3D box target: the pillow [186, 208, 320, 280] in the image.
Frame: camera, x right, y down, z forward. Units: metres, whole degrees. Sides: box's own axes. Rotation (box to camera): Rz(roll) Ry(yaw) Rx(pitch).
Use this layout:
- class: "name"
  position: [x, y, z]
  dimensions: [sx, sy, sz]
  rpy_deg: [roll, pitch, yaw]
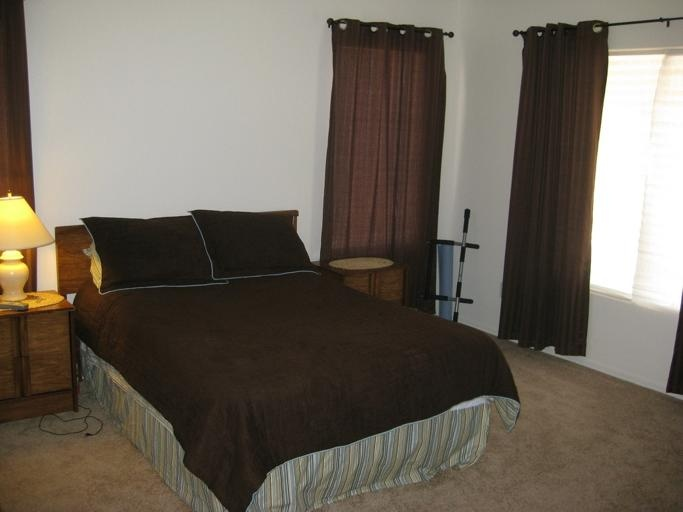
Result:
- class: "pillow"
  position: [-0.724, -0.069, 4.374]
  dimensions: [0.848, 0.245, 1.025]
  rpy_deg: [1, -32, 3]
